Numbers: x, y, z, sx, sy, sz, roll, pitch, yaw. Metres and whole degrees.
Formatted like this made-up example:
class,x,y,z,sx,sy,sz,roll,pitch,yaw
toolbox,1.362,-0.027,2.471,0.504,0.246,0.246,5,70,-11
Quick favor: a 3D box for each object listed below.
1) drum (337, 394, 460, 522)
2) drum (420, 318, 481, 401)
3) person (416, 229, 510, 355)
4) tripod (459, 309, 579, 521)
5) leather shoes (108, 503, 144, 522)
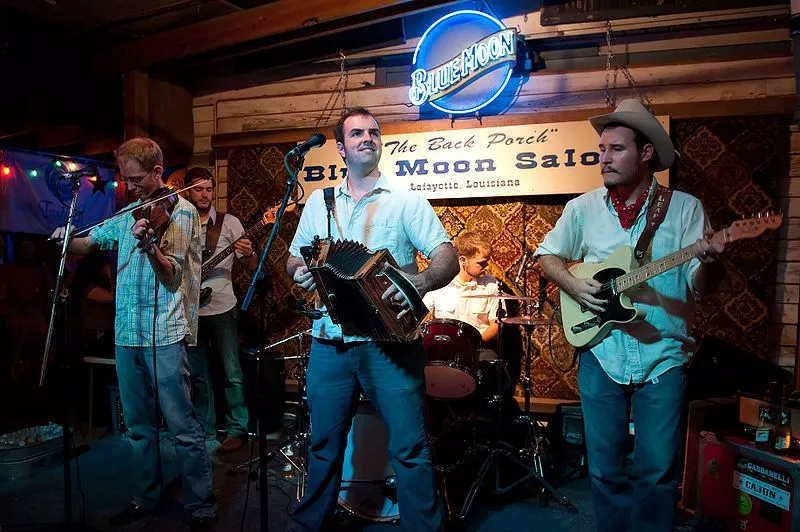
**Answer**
class,x,y,z,sx,sy,sz,roll,pitch,yaw
drum,-0.026,1.700,5.151,0.988,1.026,0.954,20,-33,-9
drum,0.444,0.797,5.297,0.636,0.633,0.572,7,39,5
person,0.699,0.250,6.071,1.076,1.508,1.057,-1,-7,6
tripod,1.162,1.244,5.741,1.215,1.411,1.148,-4,-9,-30
leather shoes,-2.234,2.041,4.902,0.103,0.110,0.262,5,-6,35
